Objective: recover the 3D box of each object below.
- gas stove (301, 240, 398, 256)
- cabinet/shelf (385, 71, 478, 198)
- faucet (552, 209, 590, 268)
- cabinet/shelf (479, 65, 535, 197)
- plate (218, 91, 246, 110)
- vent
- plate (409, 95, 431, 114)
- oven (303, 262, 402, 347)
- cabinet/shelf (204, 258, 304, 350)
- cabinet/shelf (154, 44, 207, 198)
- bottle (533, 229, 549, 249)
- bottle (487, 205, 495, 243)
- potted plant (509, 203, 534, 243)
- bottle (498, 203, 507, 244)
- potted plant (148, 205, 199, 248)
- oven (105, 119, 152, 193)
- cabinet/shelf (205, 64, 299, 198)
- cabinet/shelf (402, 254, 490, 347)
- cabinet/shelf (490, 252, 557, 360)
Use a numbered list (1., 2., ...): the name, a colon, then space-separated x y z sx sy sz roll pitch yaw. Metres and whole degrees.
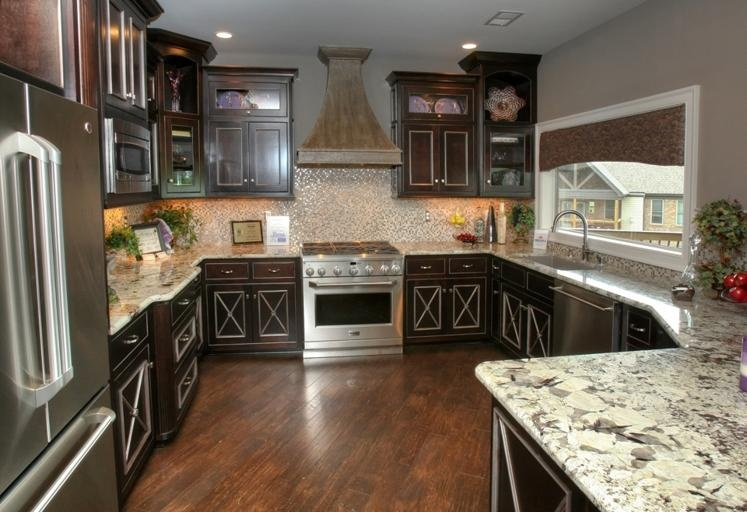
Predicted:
1. gas stove: -0.256 -0.074 5.152 0.960 0.038 0.805 -2 13 -9
2. cabinet/shelf: 0.645 -1.289 5.221 1.311 1.655 0.506 0 2 -8
3. faucet: 1.719 -0.166 4.316 0.318 0.452 0.156 1 11 39
4. cabinet/shelf: 1.459 -1.275 5.381 0.616 1.315 0.341 1 7 15
5. plate: -1.458 -1.585 5.028 0.226 0.216 0.052 1 3 -7
6. vent: -0.286 -1.495 5.006 1.161 1.255 0.711 -1 6 -9
7. plate: 0.499 -1.599 5.218 0.247 0.166 0.075 -5 14 -23
8. oven: -0.189 0.471 5.140 1.097 1.080 0.784 0 0 -8
9. cabinet/shelf: -1.227 0.409 5.180 1.049 0.942 0.921 -3 14 -19
10. cabinet/shelf: -1.868 -1.291 4.813 0.483 1.457 0.391 -2 7 -27
11. bottle: 1.756 -0.170 5.132 0.149 0.190 0.200 -3 13 -12
12. bottle: 1.366 -0.365 5.633 0.124 0.398 0.275 3 13 12
13. potted plant: 1.692 -0.357 5.573 0.350 0.448 0.306 11 17 41
14. bottle: 1.479 -0.373 5.610 0.118 0.429 0.388 3 13 15
15. potted plant: -2.088 -0.290 5.107 0.465 0.423 0.531 -3 13 -12
16. oven: -1.777 -0.663 3.394 0.286 0.477 0.547 1 7 0
17. cabinet/shelf: -1.295 -1.238 5.210 0.903 1.228 0.440 -1 7 -10
18. cabinet/shelf: 0.715 0.418 5.005 0.912 0.856 0.356 -1 2 -7
19. cabinet/shelf: 1.380 0.449 4.456 0.397 0.825 0.979 0 4 -2
